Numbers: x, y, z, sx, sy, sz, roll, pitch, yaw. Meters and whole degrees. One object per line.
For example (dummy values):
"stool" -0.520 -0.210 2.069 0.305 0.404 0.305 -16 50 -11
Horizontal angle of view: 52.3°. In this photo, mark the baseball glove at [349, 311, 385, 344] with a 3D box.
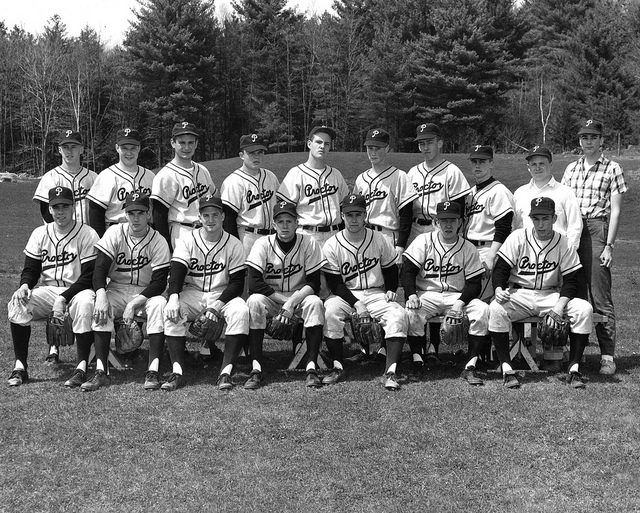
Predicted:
"baseball glove" 0.582 0.956 8.184 0.328 0.208 0.459 13 25 -24

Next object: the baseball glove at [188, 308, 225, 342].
"baseball glove" -1.414 0.848 8.149 0.413 0.411 0.277 -2 2 -19

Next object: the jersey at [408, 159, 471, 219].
"jersey" 1.678 -0.963 9.558 1.170 0.945 0.449 5 4 38

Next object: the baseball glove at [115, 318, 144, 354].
"baseball glove" -2.464 1.005 8.323 0.261 0.491 0.440 -3 3 -39

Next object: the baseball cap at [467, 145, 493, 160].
"baseball cap" 2.279 -1.489 9.210 0.302 0.221 0.384 0 3 12

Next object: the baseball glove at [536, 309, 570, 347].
"baseball glove" 2.854 0.899 8.099 0.330 0.431 0.437 -7 38 19

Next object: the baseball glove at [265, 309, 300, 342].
"baseball glove" -0.468 0.898 8.132 0.320 0.192 0.431 31 7 -22

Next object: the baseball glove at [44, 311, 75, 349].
"baseball glove" -3.259 0.896 8.161 0.339 0.431 0.249 -1 15 -18

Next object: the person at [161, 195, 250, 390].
"person" -1.433 0.396 8.319 1.052 2.345 1.304 -1 2 -7

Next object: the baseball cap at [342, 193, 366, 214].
"baseball cap" 0.443 -0.687 8.480 0.274 0.187 0.378 2 5 3

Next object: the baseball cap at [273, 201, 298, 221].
"baseball cap" -0.459 -0.598 8.392 0.273 0.229 0.249 -1 2 1

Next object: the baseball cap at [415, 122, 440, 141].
"baseball cap" 1.539 -1.795 9.282 0.330 0.248 0.428 0 3 10

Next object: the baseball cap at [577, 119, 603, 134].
"baseball cap" 3.698 -1.780 8.895 0.279 0.254 0.498 0 3 20

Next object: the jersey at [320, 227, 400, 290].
"jersey" 0.543 0.047 8.726 0.865 0.681 0.339 -2 1 -5

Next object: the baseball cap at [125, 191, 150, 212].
"baseball cap" -2.388 -0.706 8.438 0.308 0.233 0.220 0 3 21

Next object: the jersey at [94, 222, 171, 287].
"jersey" -2.459 0.046 8.682 1.046 0.840 0.549 7 8 6

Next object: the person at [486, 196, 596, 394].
"person" 2.797 0.402 8.252 1.207 2.308 1.010 0 2 20

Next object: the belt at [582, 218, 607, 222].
"belt" 3.724 -0.501 8.797 0.309 0.041 0.082 -1 3 6

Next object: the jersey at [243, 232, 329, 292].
"jersey" -0.487 -0.078 8.770 1.477 1.014 0.676 0 4 -5

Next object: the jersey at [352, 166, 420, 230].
"jersey" 0.902 -0.797 9.612 1.101 1.068 0.489 3 6 34

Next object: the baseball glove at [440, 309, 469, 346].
"baseball glove" 1.735 0.817 8.246 0.331 0.189 0.421 -20 -29 29

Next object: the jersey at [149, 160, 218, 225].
"jersey" -1.958 -0.922 9.341 0.938 0.905 0.521 -2 2 -18

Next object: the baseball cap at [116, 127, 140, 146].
"baseball cap" -2.824 -1.764 9.558 0.330 0.298 0.381 -2 3 -16

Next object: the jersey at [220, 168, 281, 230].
"jersey" -0.974 -0.814 9.631 0.520 0.983 1.227 12 17 38

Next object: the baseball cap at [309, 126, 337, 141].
"baseball cap" 0.032 -1.780 9.295 0.367 0.258 0.545 -1 3 -2

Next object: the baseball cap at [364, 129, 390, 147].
"baseball cap" 0.844 -1.709 9.359 0.232 0.173 0.323 11 11 18

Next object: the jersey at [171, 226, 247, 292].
"jersey" -1.430 -0.033 8.792 1.254 1.039 0.718 4 4 -8

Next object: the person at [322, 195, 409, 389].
"person" 0.578 0.375 8.337 1.088 2.354 1.098 -1 2 1

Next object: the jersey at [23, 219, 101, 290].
"jersey" -3.346 0.003 8.491 0.874 0.879 0.504 5 0 1

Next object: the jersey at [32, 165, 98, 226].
"jersey" -3.794 -0.878 9.844 1.167 1.028 0.401 -3 15 -41

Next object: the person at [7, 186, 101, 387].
"person" -3.345 0.321 8.270 1.101 2.436 1.161 -1 2 -2

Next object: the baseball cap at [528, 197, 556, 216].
"baseball cap" 2.819 -0.639 8.260 0.303 0.229 0.186 0 3 18

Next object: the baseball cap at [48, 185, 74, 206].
"baseball cap" -3.334 -0.781 8.379 0.282 0.246 0.187 -2 3 -24

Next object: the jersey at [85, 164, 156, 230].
"jersey" -2.899 -0.893 9.702 1.233 1.057 0.488 -7 29 -44

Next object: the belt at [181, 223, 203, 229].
"belt" -1.830 -0.446 9.170 0.168 0.051 0.121 19 -4 13

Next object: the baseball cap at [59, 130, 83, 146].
"baseball cap" -3.653 -1.755 9.523 0.304 0.258 0.369 -2 3 -23

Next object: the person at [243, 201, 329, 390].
"person" -0.416 0.427 8.261 1.069 2.274 0.930 -1 2 -7
